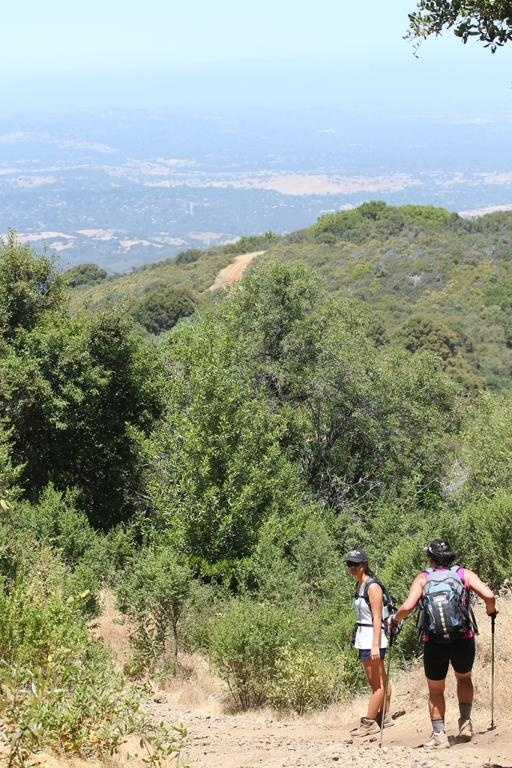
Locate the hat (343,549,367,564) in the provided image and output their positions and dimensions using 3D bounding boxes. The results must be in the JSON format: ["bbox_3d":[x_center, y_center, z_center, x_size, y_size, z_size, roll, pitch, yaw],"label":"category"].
[{"bbox_3d":[0.929,1.578,8.822,0.155,0.119,0.227,-8,-25,25],"label":"hat"}]

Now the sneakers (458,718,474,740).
[{"bbox_3d":[1.801,2.972,8.287,0.106,0.068,0.169,-7,20,14],"label":"sneakers"}]

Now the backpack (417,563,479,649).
[{"bbox_3d":[1.594,1.879,8.082,0.472,0.570,0.342,-1,8,9],"label":"backpack"}]

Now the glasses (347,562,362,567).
[{"bbox_3d":[0.892,1.645,8.748,0.072,0.054,0.120,-4,-16,32],"label":"glasses"}]

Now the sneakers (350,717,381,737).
[{"bbox_3d":[1.020,3.211,9.012,0.287,0.152,0.131,-2,1,-5],"label":"sneakers"}]

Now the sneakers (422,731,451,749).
[{"bbox_3d":[1.529,3.019,8.127,0.246,0.159,0.097,-2,-16,7],"label":"sneakers"}]
